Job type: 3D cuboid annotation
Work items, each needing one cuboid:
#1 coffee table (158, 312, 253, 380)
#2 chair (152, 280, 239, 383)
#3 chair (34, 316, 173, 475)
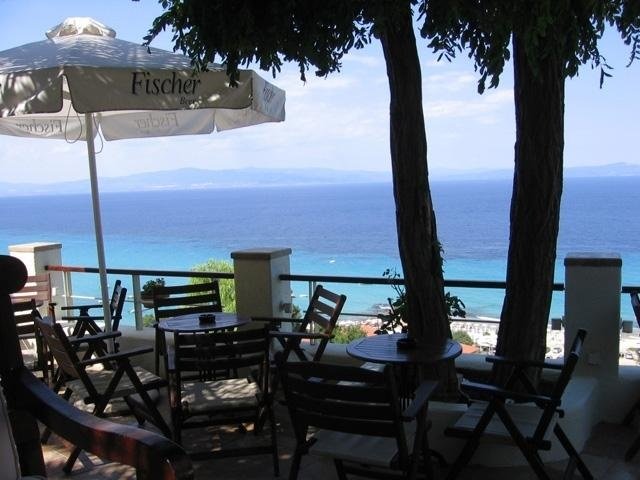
[{"bbox_3d":[-1.028,0.875,4.703,0.584,0.508,0.599,0,8,0],"label":"coffee table"},{"bbox_3d":[-1.335,0.815,5.470,0.864,1.325,0.889,0,-8,-14],"label":"chair"},{"bbox_3d":[-1.666,0.941,4.616,1.062,1.566,1.044,-6,4,-31],"label":"chair"}]
